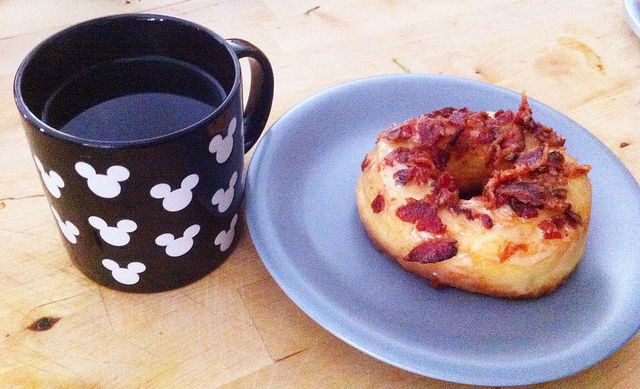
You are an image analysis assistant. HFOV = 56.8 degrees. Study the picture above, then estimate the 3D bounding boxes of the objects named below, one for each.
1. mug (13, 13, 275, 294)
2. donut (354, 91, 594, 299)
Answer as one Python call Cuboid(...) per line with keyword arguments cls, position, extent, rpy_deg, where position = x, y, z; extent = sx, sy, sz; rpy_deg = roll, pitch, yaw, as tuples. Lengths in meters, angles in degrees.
Cuboid(cls="mug", position=(-0.335, -0.115, 1.290), extent=(0.396, 0.371, 0.541), rpy_deg=(40, 48, 20))
Cuboid(cls="donut", position=(0.343, 0.017, 1.287), extent=(0.498, 0.148, 0.437), rpy_deg=(-12, 57, -3))
